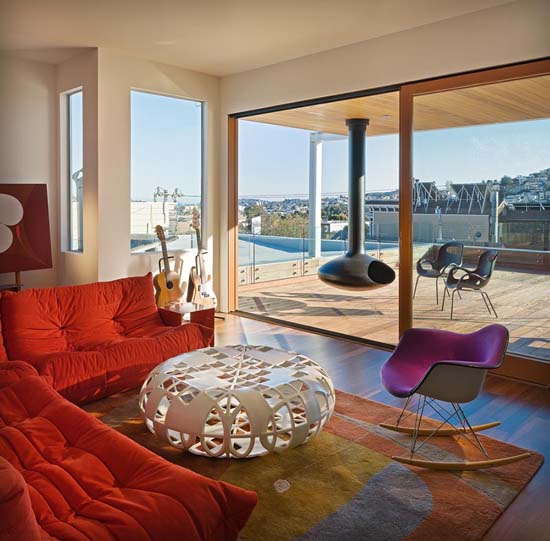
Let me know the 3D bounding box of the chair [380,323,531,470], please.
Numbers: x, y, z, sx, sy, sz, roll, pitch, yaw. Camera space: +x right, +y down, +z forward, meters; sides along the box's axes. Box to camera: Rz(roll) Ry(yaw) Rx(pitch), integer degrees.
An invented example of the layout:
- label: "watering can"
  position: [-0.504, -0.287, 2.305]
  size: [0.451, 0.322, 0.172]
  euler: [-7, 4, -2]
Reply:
- label: "chair"
  position: [1.036, 0.726, 2.480]
  size: [0.749, 0.695, 0.790]
  euler: [-2, 3, 10]

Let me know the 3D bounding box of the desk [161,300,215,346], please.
- label: "desk"
  position: [-0.860, 0.456, 3.970]
  size: [0.505, 0.443, 0.479]
  euler: [-1, 3, -26]

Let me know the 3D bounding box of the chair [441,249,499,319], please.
- label: "chair"
  position: [1.836, 0.116, 3.793]
  size: [0.599, 0.740, 0.590]
  euler: [-1, 4, 3]
